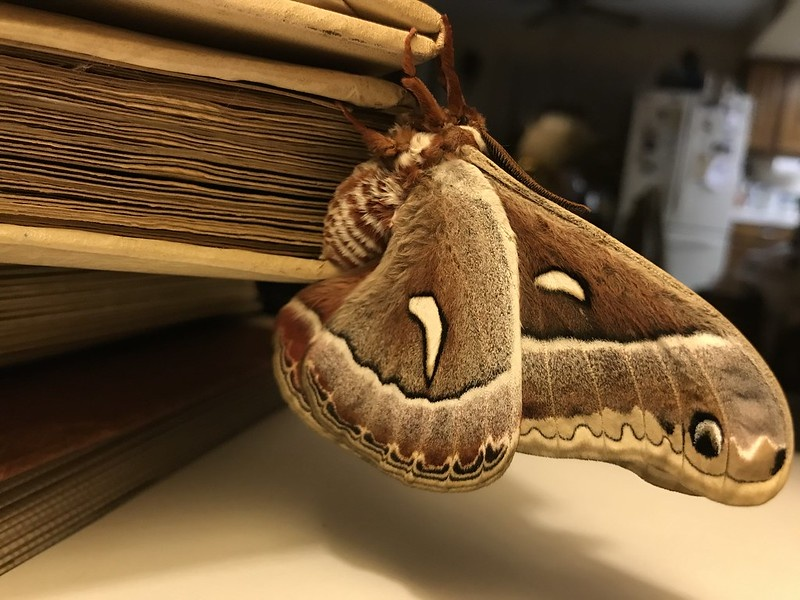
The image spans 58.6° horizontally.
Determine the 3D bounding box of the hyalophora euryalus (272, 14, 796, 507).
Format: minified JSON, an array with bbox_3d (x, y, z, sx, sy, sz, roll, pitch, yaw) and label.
[{"bbox_3d":[0.109,0.020,0.784,0.440,0.475,0.302,8,-47,-39],"label":"hyalophora euryalus"}]
